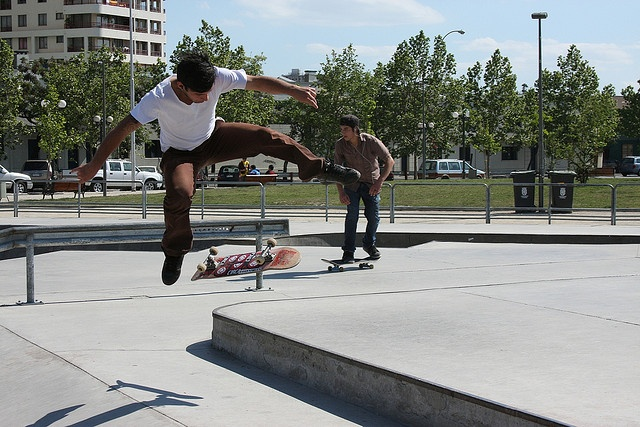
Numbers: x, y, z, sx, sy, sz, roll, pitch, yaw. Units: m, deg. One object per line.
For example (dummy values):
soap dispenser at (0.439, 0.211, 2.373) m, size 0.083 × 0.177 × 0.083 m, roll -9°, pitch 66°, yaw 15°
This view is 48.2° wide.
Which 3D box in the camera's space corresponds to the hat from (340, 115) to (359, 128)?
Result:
hat at (0.366, -1.229, 9.434) m, size 0.244 × 0.158 × 0.158 m, roll -6°, pitch 23°, yaw -11°

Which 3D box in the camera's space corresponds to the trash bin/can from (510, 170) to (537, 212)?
trash bin/can at (5.372, -0.654, 18.891) m, size 0.654 × 0.919 × 3.412 m, roll 3°, pitch 14°, yaw 14°

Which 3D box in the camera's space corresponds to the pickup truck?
pickup truck at (-10.653, -1.912, 37.393) m, size 4.486 × 1.492 × 1.650 m, roll -2°, pitch -3°, yaw -26°

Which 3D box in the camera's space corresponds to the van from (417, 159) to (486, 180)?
van at (9.953, -3.245, 51.819) m, size 4.261 × 1.491 × 2.168 m, roll -4°, pitch 7°, yaw -20°

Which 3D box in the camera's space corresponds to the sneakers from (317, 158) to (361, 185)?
sneakers at (0.204, -0.419, 7.146) m, size 0.566 × 0.158 × 0.201 m, roll 5°, pitch 0°, yaw -9°

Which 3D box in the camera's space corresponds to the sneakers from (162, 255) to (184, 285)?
sneakers at (-1.400, 0.551, 6.751) m, size 0.137 × 0.342 × 0.145 m, roll 3°, pitch 23°, yaw -11°

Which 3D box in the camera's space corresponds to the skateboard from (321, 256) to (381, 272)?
skateboard at (0.425, 0.656, 9.756) m, size 0.713 × 0.109 × 0.242 m, roll 0°, pitch 16°, yaw -26°
